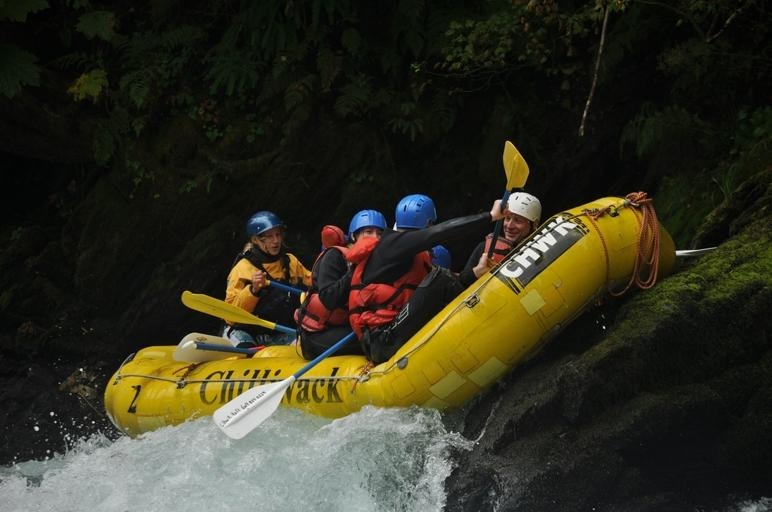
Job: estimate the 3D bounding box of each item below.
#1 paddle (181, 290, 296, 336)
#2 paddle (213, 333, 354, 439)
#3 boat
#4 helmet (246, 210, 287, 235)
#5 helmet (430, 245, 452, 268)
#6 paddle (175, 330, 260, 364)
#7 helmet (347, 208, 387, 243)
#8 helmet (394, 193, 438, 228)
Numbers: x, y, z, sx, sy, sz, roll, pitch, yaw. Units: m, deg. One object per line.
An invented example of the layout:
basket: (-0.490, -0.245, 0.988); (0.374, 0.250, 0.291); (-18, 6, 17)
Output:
paddle: (-1.914, 0.742, 10.771); (1.503, 0.220, 0.170); (26, -15, -32)
paddle: (-1.018, 1.351, 9.127); (0.525, 2.163, 0.111); (52, -17, 2)
boat: (-0.008, 1.150, 9.364); (1.351, 6.146, 2.883); (58, 14, 5)
helmet: (-1.670, -0.412, 11.042); (0.384, 0.313, 0.296); (-13, 10, 38)
helmet: (0.720, -0.021, 10.330); (0.226, 0.305, 0.287); (20, -24, -6)
paddle: (-2.072, 1.150, 9.828); (0.957, 0.377, 0.196); (16, -4, -37)
helmet: (-0.218, -0.396, 9.833); (0.323, 0.440, 0.418); (11, 62, -22)
helmet: (0.354, -0.490, 9.338); (0.315, 0.422, 0.429); (-2, -12, 32)
